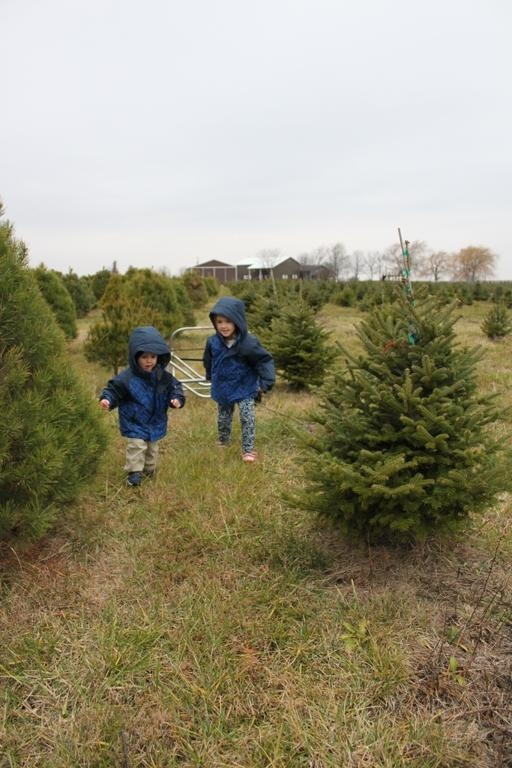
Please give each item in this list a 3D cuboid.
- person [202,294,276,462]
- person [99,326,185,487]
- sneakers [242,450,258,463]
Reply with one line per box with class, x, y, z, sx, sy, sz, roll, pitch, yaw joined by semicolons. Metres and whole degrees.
person;-0.218;-0.090;5.177;0.697;1.327;0.429;6;11;34
person;-0.860;0.148;4.406;0.322;1.145;0.770;9;13;44
sneakers;-0.061;0.603;4.925;0.119;0.072;0.212;0;9;0
